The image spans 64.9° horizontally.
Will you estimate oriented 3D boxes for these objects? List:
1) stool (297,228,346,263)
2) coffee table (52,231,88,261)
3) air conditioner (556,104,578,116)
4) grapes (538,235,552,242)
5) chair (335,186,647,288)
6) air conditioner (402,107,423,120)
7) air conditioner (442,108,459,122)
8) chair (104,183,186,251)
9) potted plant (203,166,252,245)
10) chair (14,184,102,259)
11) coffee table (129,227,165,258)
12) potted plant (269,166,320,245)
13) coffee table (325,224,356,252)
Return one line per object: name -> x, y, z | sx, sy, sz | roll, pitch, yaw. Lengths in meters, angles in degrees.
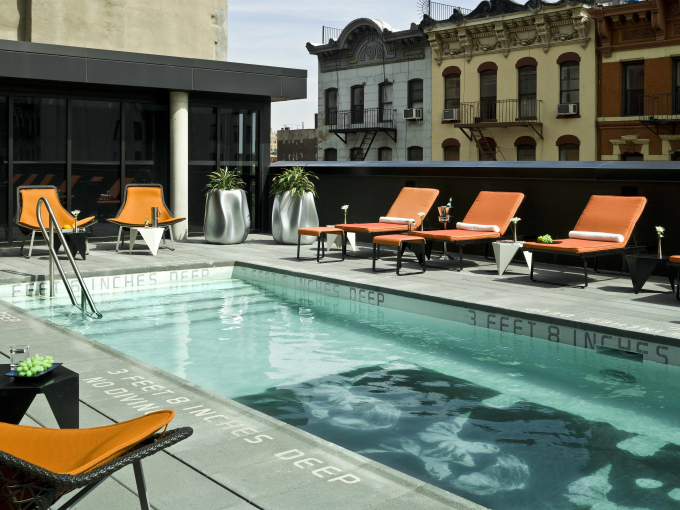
stool -> -0.340, -0.213, 9.634 | 0.715, 0.639, 0.767 | 1, 0, -35
coffee table -> -4.403, -0.151, 8.936 | 0.269, 0.495, 0.551 | 4, 3, -11
air conditioner -> 10.302, -6.581, 24.227 | 0.942, 0.484, 0.613 | 3, 6, 44
grapes -> 2.904, -0.214, 7.518 | 0.175, 0.096, 0.204 | 6, 4, 34
chair -> 2.751, -0.346, 8.206 | 3.318, 1.159, 1.861 | 6, 4, 28
air conditioner -> 3.955, -7.631, 28.868 | 1.061, 0.476, 0.373 | 5, 3, 12
air conditioner -> 5.735, -7.234, 27.546 | 0.910, 0.542, 0.416 | 7, 4, 44
chair -> -3.950, -0.796, 10.913 | 1.480, 1.204, 1.323 | -1, 11, -18
potted plant -> -2.536, -1.087, 11.830 | 1.111, 1.512, 0.986 | 4, 11, 16
chair -> -5.379, -0.617, 9.864 | 1.238, 1.117, 1.264 | 12, 13, 33
coffee table -> -3.695, -0.240, 10.202 | 0.602, 0.540, 0.594 | 2, 0, -43
potted plant -> -0.949, -1.076, 11.592 | 1.146, 1.518, 1.042 | 0, 6, -23
coffee table -> 0.003, -0.255, 9.741 | 0.421, 0.400, 0.409 | -1, -1, 45
